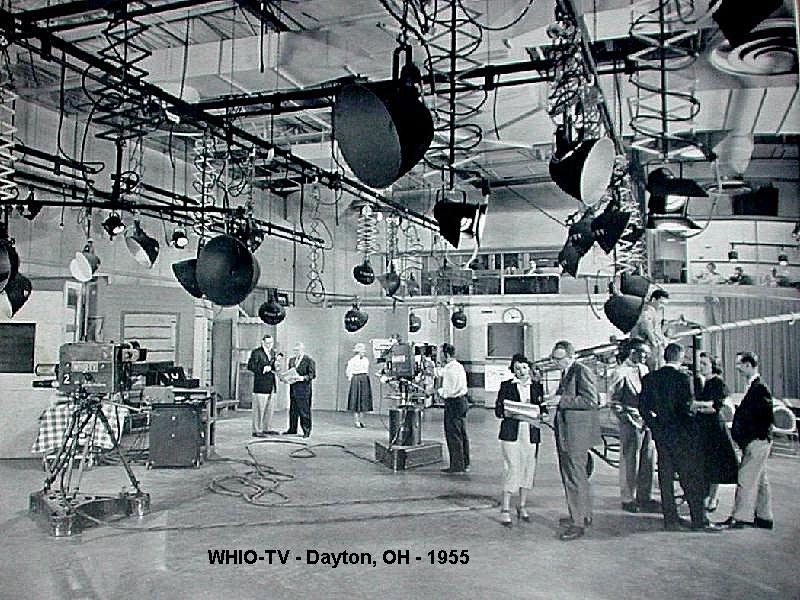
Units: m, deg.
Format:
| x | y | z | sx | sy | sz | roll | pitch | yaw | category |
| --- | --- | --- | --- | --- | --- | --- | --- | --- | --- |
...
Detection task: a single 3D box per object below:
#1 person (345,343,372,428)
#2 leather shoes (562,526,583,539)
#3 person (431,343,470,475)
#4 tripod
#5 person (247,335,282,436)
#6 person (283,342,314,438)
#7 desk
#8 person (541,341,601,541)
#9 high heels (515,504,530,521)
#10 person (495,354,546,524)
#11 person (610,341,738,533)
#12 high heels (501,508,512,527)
| x | y | z | sx | sy | sz | roll | pitch | yaw | category |
| --- | --- | --- | --- | --- | --- | --- | --- | --- | --- |
| -0.809 | 1.681 | 15.684 | 0.443 | 1.590 | 1.543 | 0 | 3 | -5 | person |
| 1.818 | 2.449 | 8.417 | 0.258 | 0.104 | 0.104 | 10 | -16 | -36 | leather shoes |
| 0.746 | 1.474 | 10.998 | 0.464 | 1.751 | 0.679 | 1 | 3 | 4 | person |
| -3.901 | 1.898 | 9.722 | 1.150 | 1.159 | 0.794 | 0 | -9 | 3 | tripod |
| -2.381 | 1.444 | 13.725 | 0.478 | 1.688 | 0.594 | 0 | 3 | -7 | person |
| -1.753 | 1.569 | 13.849 | 0.474 | 1.577 | 0.877 | 0 | 3 | -6 | person |
| -3.015 | 1.835 | 11.327 | 0.879 | 1.109 | 1.457 | 1 | -5 | 0 | desk |
| 1.854 | 1.479 | 8.604 | 0.570 | 2.015 | 0.657 | 1 | 3 | 11 | person |
| 1.401 | 2.399 | 8.967 | 0.081 | 0.161 | 0.227 | 4 | -23 | -12 | high heels |
| 1.352 | 1.547 | 9.069 | 0.526 | 1.812 | 1.141 | 1 | 3 | 9 | person |
| 3.035 | 1.494 | 8.754 | 0.789 | 2.024 | 0.323 | 1 | 3 | 18 | person |
| 1.164 | 2.386 | 8.762 | 0.091 | 0.113 | 0.277 | -1 | -19 | 3 | high heels |
